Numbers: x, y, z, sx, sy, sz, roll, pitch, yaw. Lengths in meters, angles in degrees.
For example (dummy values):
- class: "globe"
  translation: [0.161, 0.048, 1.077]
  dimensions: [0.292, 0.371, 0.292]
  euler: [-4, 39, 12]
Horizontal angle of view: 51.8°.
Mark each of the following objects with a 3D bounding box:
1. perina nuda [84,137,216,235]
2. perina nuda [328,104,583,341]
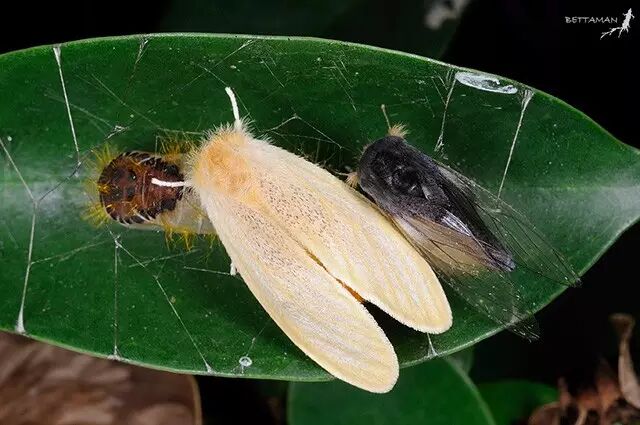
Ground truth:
- class: "perina nuda"
  translation: [-0.669, -0.066, 2.633]
  dimensions: [0.462, 0.155, 0.281]
  euler: [6, 86, -6]
- class: "perina nuda"
  translation: [0.528, 0.066, 2.496]
  dimensions: [0.940, 0.101, 0.375]
  euler: [39, 86, 7]
